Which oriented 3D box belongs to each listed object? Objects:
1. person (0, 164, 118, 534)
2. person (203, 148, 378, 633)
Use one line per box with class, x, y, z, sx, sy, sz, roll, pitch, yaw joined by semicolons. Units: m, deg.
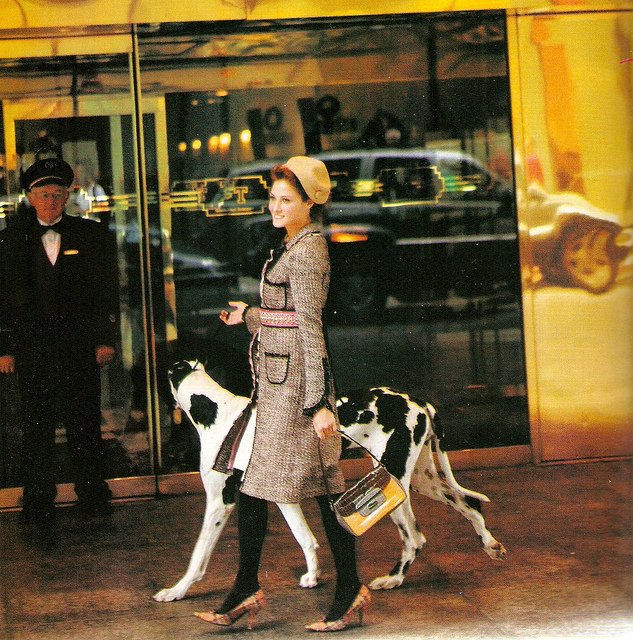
person;-1.399;0.145;4.979;0.719;2.033;0.329;-7;4;-10
person;-0.170;0.330;4.093;0.674;2.076;1.105;-6;4;2
